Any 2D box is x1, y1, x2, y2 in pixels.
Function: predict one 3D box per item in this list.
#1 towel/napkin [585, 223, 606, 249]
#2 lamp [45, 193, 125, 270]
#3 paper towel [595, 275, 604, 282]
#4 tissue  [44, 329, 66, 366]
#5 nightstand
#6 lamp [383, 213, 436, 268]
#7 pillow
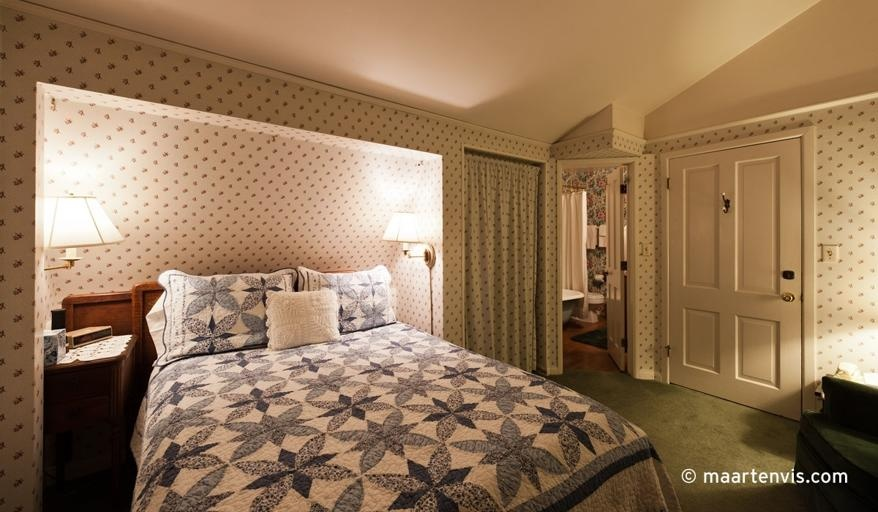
[{"bbox_3d":[2.466,-0.314,8.271,0.411,0.456,0.098,0,-1,41],"label":"towel/napkin"},{"bbox_3d":[-3.066,-0.195,4.432,0.628,0.634,0.709,6,2,28],"label":"lamp"},{"bbox_3d":[2.517,0.353,8.277,0.131,0.127,0.210,-1,3,9],"label":"paper towel"},{"bbox_3d":[-3.159,0.742,4.310,0.137,0.206,0.250,0,0,-24],"label":"tissue "},{"bbox_3d":[-2.911,1.307,4.427,0.684,1.184,0.469,-3,3,-30],"label":"nightstand"},{"bbox_3d":[-0.269,-0.155,5.538,0.532,0.599,0.442,0,3,13],"label":"lamp"},{"bbox_3d":[-1.686,0.468,4.363,2.164,0.753,0.352,-5,-7,-24],"label":"pillow"}]
